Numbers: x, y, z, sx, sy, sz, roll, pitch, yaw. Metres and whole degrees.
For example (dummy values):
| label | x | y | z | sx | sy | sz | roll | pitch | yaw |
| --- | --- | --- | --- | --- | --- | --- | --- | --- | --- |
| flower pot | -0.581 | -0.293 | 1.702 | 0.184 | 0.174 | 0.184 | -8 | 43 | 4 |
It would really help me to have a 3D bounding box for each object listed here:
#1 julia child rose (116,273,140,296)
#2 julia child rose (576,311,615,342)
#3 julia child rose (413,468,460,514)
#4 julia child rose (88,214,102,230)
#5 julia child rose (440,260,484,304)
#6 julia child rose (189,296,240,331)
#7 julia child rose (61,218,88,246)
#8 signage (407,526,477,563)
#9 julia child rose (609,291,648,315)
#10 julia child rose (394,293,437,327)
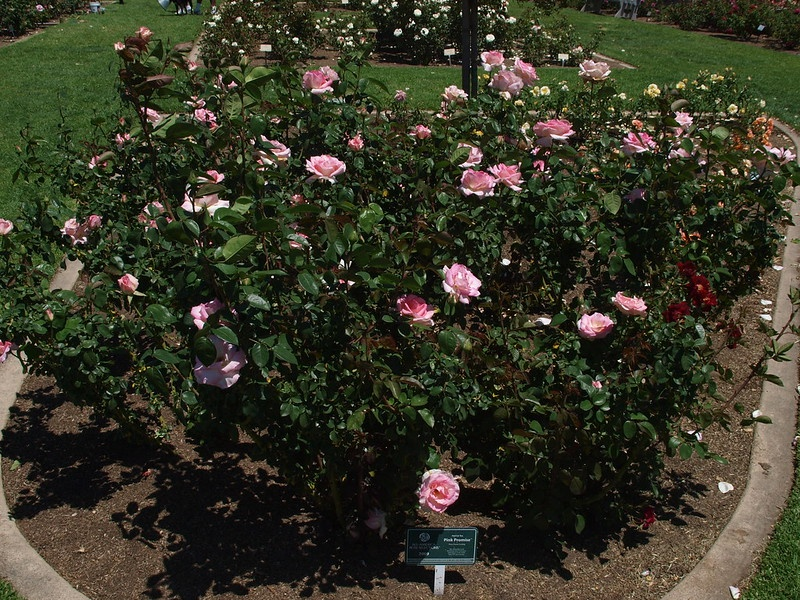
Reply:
| label | x | y | z | sx | sy | sz | roll | pitch | yaw |
| --- | --- | --- | --- | --- | --- | --- | --- | --- | --- |
| julia child rose | -1.504 | -0.089 | 3.420 | 0.065 | 0.094 | 0.075 | -25 | 61 | -32 |
| julia child rose | 1.010 | 0.131 | 3.231 | 0.158 | 0.144 | 0.109 | 6 | 34 | 4 |
| julia child rose | 0.192 | 0.927 | 3.042 | 0.177 | 0.181 | 0.184 | 10 | 35 | 9 |
| julia child rose | -1.852 | -0.476 | 3.786 | 0.075 | 0.087 | 0.084 | 4 | 4 | 9 |
| julia child rose | 0.282 | -0.081 | 2.983 | 0.197 | 0.182 | 0.165 | 11 | 35 | 10 |
| julia child rose | -0.879 | 0.049 | 2.868 | 0.150 | 0.072 | 0.154 | -25 | 65 | -23 |
| julia child rose | -2.031 | -0.427 | 3.893 | 0.186 | 0.186 | 0.110 | -2 | 18 | 40 |
| signage | 0.217 | 1.317 | 3.302 | 0.367 | 0.238 | 0.106 | 1 | 34 | -3 |
| julia child rose | 1.210 | 0.014 | 3.232 | 0.136 | 0.065 | 0.130 | -17 | 37 | -22 |
| julia child rose | 0.069 | 0.042 | 3.025 | 0.180 | 0.135 | 0.163 | 3 | 35 | -1 |
